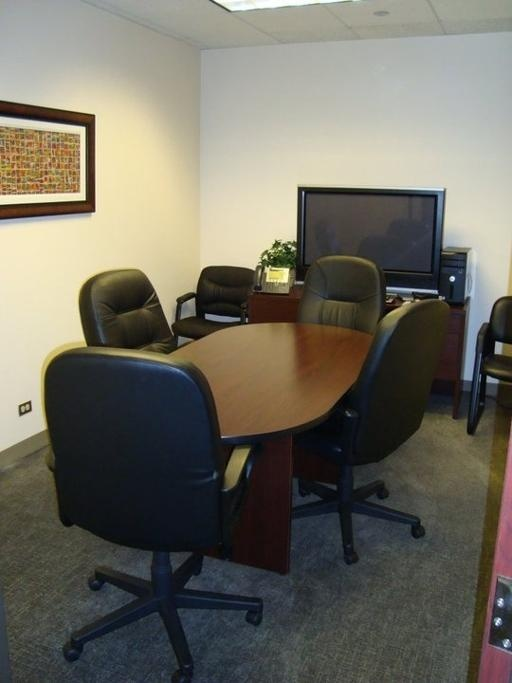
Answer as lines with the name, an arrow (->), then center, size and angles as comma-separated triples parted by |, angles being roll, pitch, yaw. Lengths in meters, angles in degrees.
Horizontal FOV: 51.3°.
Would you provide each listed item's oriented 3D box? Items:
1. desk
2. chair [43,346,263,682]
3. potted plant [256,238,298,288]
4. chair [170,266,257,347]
desk -> 0.062, 0.418, 1.894 | 0.355, 0.446, 0.776 | 7, 16, 22
chair -> -0.285, 0.551, 1.551 | 0.547, 1.082, 0.596 | 4, 21, 8
potted plant -> 0.177, -0.676, 4.357 | 0.317, 0.555, 0.348 | 6, 14, 26
chair -> -0.380, -0.336, 4.345 | 0.566, 0.858, 0.619 | 6, 13, 18
